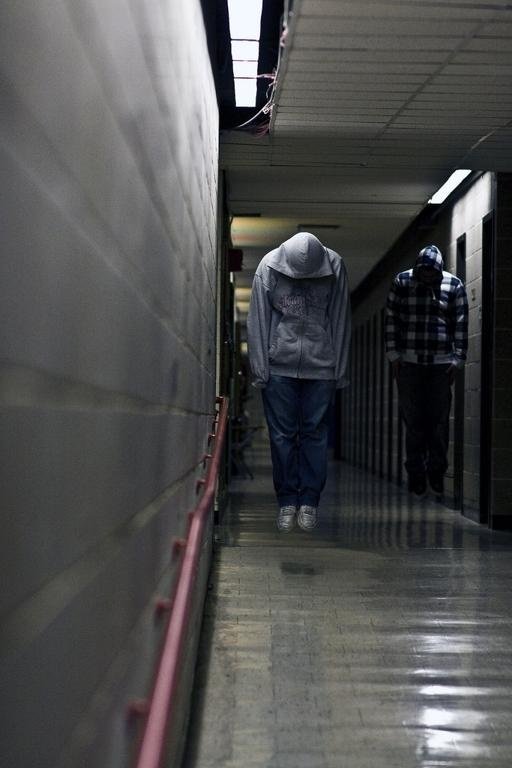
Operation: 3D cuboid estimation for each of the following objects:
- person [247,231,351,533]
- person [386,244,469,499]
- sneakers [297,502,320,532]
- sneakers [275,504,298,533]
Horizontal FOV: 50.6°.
[{"bbox_3d":[0.337,-0.024,4.133,0.598,2.368,0.557,0,23,2],"label":"person"},{"bbox_3d":[1.769,-0.109,5.544,0.659,2.517,0.795,3,-4,-33],"label":"person"},{"bbox_3d":[0.375,0.956,3.967,0.138,0.137,0.302,6,18,2],"label":"sneakers"},{"bbox_3d":[0.226,0.961,3.913,0.128,0.172,0.104,1,-3,0],"label":"sneakers"}]
